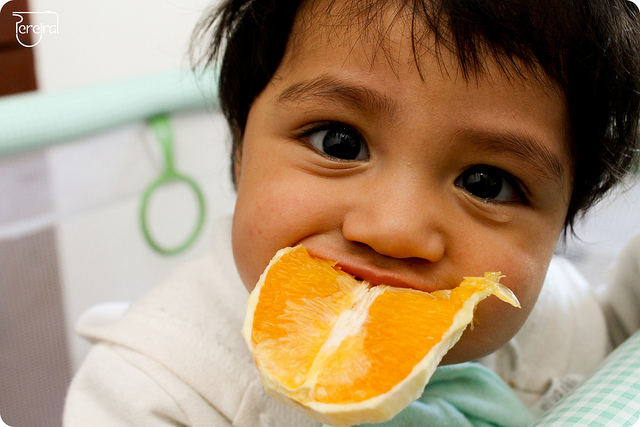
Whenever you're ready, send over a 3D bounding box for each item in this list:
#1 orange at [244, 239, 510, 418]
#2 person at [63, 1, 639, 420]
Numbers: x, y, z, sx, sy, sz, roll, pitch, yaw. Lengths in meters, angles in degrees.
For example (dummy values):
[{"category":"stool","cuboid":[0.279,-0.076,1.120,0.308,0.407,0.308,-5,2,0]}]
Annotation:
[{"category":"orange","cuboid":[0.040,0.229,1.009,0.383,0.149,0.441,-14,35,-12]},{"category":"person","cuboid":[0.076,-0.007,1.219,0.993,0.852,0.662,10,-3,-4]}]
